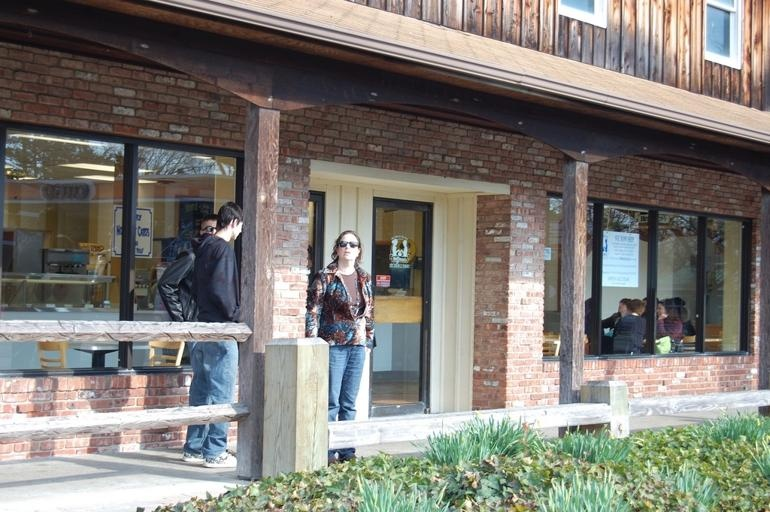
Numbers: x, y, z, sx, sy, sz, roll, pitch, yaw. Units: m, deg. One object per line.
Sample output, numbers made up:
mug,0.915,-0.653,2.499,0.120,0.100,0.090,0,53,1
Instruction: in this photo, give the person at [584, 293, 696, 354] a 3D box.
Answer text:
person,3.954,1.018,12.121,1.271,0.435,0.892,-2,-1,-14

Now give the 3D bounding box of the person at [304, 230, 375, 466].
person,-0.448,0.673,7.783,0.697,1.826,0.301,4,-6,-35

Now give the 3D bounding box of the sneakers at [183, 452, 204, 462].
sneakers,-1.840,1.936,7.725,0.208,0.090,0.079,0,-2,5

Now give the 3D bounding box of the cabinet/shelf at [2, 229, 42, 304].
cabinet/shelf,-3.589,0.122,7.963,0.353,0.770,0.092,4,-5,-32

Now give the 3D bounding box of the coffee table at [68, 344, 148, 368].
coffee table,-2.813,1.011,8.241,0.386,0.166,0.377,0,-3,17

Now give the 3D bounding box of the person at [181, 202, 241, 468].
person,-1.606,0.717,7.646,0.457,2.510,0.561,3,-5,-19

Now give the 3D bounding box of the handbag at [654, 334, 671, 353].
handbag,4.244,1.351,12.319,0.275,0.259,0.083,7,-2,-40
